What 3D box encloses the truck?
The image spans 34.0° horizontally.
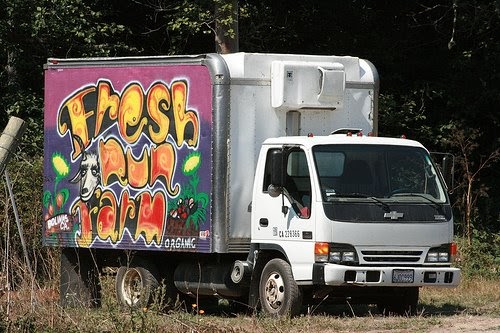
[{"bbox_3d":[-0.545,0.469,19.622,4.448,5.916,9.399,1,-2,-44],"label":"truck"}]
